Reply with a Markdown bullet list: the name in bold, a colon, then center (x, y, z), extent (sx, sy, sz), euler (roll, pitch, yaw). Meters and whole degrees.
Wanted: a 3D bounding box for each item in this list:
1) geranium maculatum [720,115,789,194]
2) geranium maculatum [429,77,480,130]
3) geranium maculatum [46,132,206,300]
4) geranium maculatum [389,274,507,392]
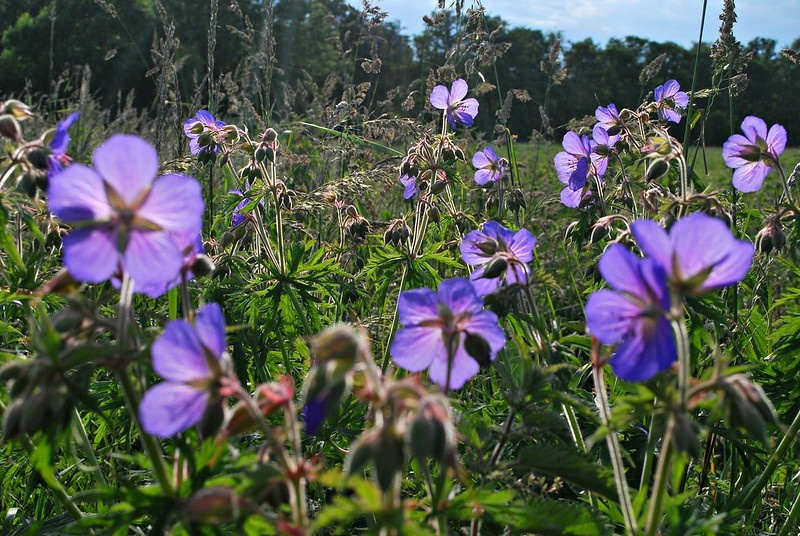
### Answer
- **geranium maculatum**: center (2.069, -0.679, 5.134), extent (0.397, 0.373, 0.441), euler (-5, -36, 37)
- **geranium maculatum**: center (0.356, -1.075, 5.917), extent (0.303, 0.353, 0.343), euler (9, 16, 4)
- **geranium maculatum**: center (-1.184, -0.233, 3.897), extent (0.609, 0.679, 0.134), euler (11, 0, -3)
- **geranium maculatum**: center (0.226, 0.315, 4.094), extent (0.484, 0.536, 0.185), euler (11, 15, 10)
